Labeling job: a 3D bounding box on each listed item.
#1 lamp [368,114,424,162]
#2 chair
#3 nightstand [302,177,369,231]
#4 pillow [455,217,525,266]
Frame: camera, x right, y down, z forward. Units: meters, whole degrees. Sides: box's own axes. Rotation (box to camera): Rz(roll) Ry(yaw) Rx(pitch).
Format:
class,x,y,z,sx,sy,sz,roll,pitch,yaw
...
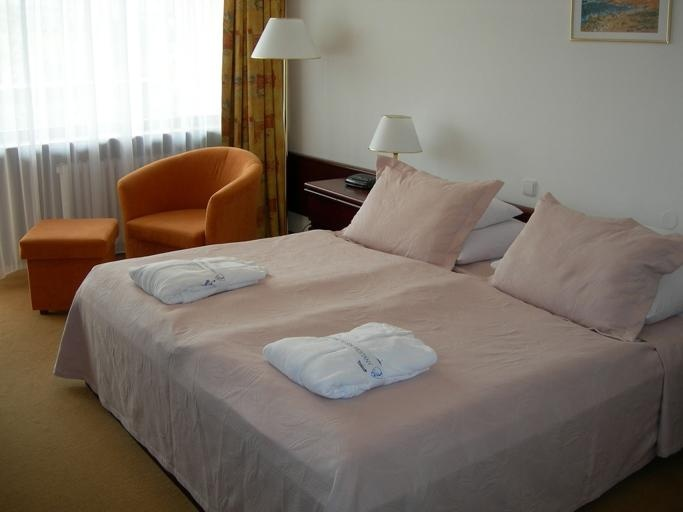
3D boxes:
class,x,y,z,sx,sy,sz,roll,pitch,yaw
lamp,0.357,-0.846,3.596,0.312,0.396,0.322,-15,20,-40
chair,-1.198,-0.317,4.181,0.975,1.074,0.948,7,16,10
nightstand,-0.032,-0.410,3.913,0.372,0.510,0.492,-11,24,-26
pillow,0.849,-0.082,2.920,0.349,0.246,0.097,-12,27,-30
